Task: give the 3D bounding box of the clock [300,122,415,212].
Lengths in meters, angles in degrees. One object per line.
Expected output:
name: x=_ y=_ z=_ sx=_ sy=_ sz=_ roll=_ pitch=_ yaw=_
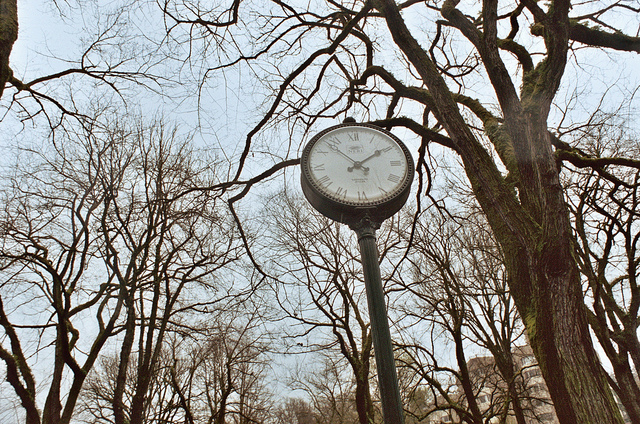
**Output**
clock: x=0.636 y=-0.710 z=13.819 sx=1.852 sy=1.887 sz=0.282 roll=-6 pitch=-26 yaw=-10
